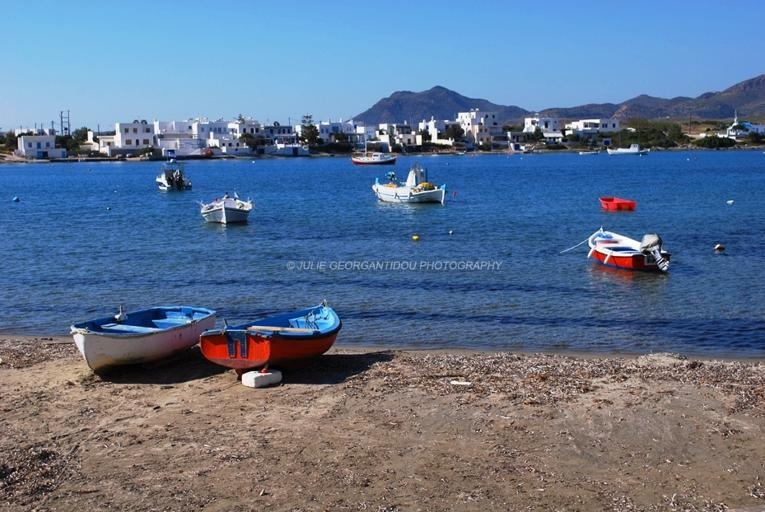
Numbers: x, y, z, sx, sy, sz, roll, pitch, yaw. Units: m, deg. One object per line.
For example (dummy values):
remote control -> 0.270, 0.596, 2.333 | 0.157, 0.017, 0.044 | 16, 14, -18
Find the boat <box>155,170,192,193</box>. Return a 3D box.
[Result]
boat -> -25.138, -9.097, 95.864 | 3.007, 1.968, 5.603 | -2, 6, -17

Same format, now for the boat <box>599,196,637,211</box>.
boat -> 19.733, -4.328, 66.929 | 2.536, 0.787, 3.109 | -2, 12, 8

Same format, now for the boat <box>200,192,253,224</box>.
boat -> -11.514, -3.306, 59.232 | 3.260, 1.765, 3.469 | -8, 12, -15

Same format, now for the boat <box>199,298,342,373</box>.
boat -> -2.897, 2.552, 25.327 | 2.370, 1.346, 4.036 | 2, 5, 35

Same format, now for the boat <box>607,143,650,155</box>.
boat -> 62.213, -26.502, 201.986 | 8.866, 2.504, 7.069 | -3, 12, 3
